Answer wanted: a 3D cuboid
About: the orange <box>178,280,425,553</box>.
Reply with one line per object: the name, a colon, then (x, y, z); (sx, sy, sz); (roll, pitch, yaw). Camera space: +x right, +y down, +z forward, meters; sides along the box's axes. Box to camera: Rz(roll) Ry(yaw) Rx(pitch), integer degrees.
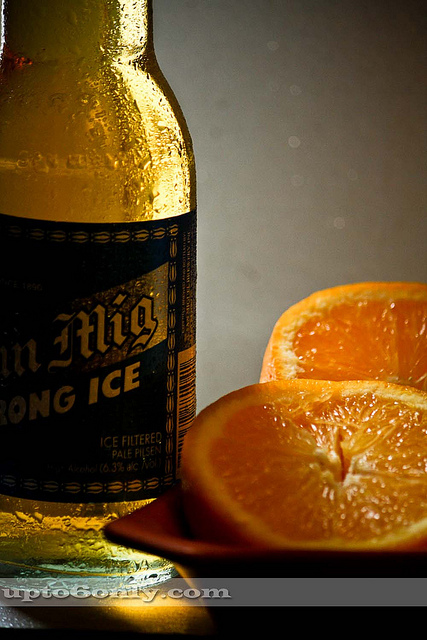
orange: (0.058, 0.043, 0.379); (0.142, 0.134, 0.167); (6, 0, -1)
